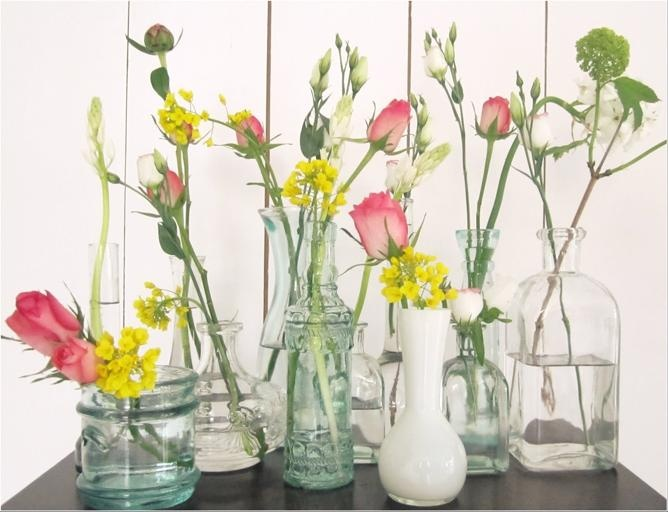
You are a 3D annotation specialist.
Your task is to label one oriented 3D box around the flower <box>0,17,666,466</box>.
[{"bbox_3d":[0.005,-0.017,1.297,0.728,0.570,0.252,3,5,0],"label":"flower"}]
